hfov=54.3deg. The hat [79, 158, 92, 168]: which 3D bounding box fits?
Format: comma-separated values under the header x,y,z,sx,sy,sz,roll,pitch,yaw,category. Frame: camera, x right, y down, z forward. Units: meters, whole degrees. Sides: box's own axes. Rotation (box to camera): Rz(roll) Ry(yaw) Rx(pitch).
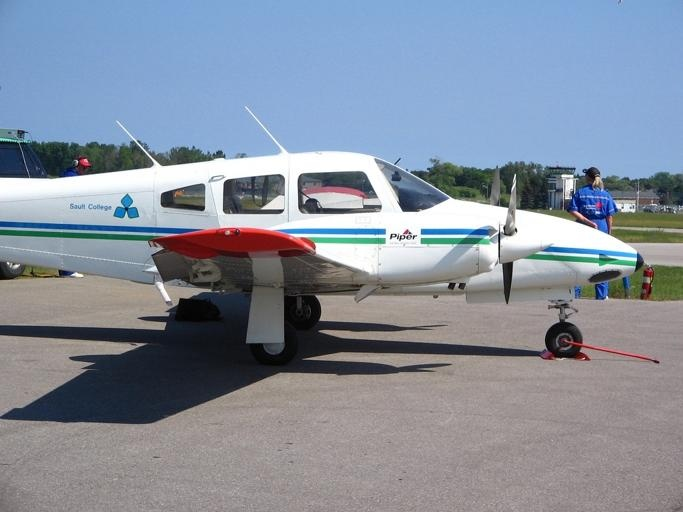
x,y,z,sx,sy,sz,roll,pitch,yaw,category
-4.936,-1.795,12.759,0.323,0.150,0.197,-1,2,29,hat
